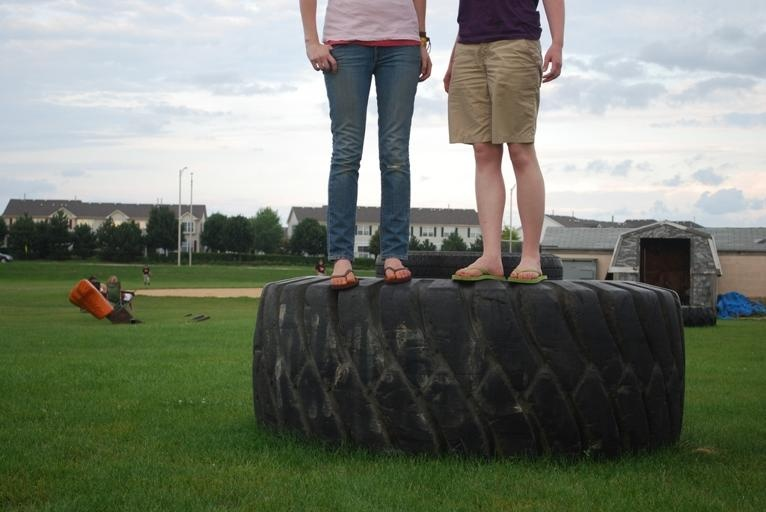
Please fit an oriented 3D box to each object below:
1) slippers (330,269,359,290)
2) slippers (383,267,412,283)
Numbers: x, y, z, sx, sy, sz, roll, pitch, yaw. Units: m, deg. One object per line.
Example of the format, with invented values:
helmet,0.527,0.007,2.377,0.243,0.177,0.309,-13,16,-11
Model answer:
slippers,-0.321,0.198,7.642,0.229,0.142,0.223,1,1,-4
slippers,0.116,0.160,7.694,0.217,0.118,0.302,1,1,-1
